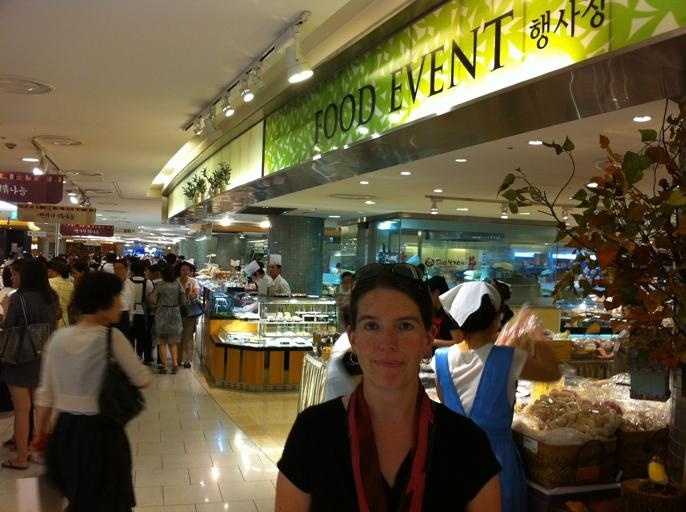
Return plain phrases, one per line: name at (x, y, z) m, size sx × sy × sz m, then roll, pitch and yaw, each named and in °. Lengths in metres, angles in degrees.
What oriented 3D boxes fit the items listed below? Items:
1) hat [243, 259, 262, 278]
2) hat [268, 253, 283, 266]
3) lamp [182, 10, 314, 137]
hat at (-1.990, 0.279, 10.764) m, size 0.231 × 0.277 × 0.317 m, roll -27°, pitch 24°, yaw 23°
hat at (-1.339, 0.076, 9.587) m, size 0.247 × 0.196 × 0.251 m, roll 1°, pitch 3°, yaw -7°
lamp at (-0.867, -1.701, 4.536) m, size 0.172 × 0.232 × 2.115 m, roll 10°, pitch -18°, yaw -23°
